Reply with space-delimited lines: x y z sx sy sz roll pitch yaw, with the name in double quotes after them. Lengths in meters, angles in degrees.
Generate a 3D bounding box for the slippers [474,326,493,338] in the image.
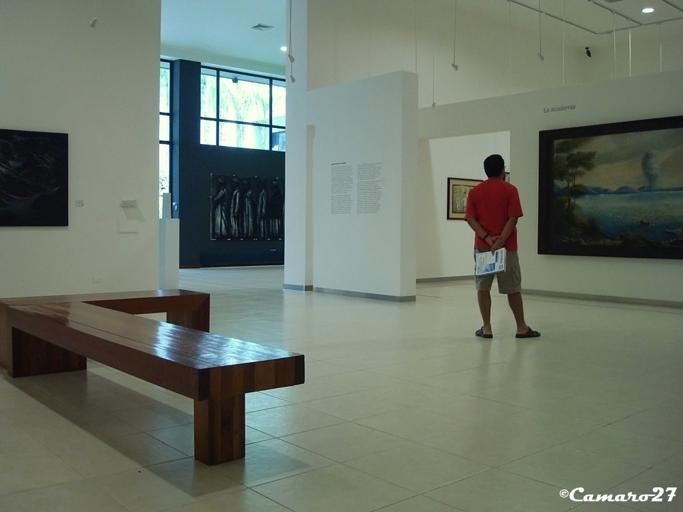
1.599 0.868 5.863 0.076 0.090 0.211 -2 2 -8 "slippers"

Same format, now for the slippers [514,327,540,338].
2.095 0.882 5.838 0.294 0.134 0.111 -1 2 -25 "slippers"

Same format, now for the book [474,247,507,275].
1.635 0.055 5.638 0.036 0.213 0.262 8 -8 -35 "book"

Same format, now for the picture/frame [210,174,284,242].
-3.308 -1.651 17.470 2.112 1.920 0.101 0 3 -28 "picture/frame"

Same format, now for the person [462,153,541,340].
1.785 -0.124 5.817 0.746 2.074 0.539 1 2 22 "person"
